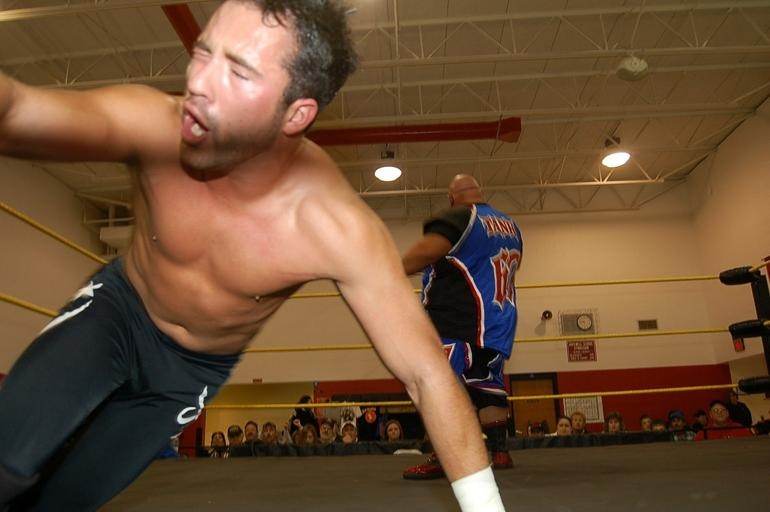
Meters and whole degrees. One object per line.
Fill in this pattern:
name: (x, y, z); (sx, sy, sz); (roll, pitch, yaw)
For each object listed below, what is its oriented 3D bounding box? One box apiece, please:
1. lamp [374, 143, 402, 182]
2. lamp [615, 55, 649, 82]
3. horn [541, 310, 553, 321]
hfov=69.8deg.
lamp: (0.049, -1.596, 9.137); (0.545, 0.653, 0.625); (1, -25, 0)
lamp: (3.182, -2.456, 7.130); (0.323, 0.340, 0.318); (-2, -51, 8)
horn: (3.120, 1.128, 10.610); (0.218, 0.201, 0.106); (-4, -21, 14)
